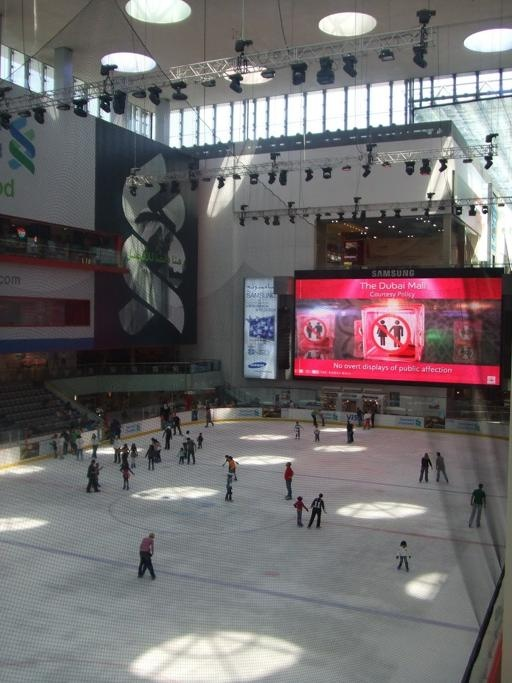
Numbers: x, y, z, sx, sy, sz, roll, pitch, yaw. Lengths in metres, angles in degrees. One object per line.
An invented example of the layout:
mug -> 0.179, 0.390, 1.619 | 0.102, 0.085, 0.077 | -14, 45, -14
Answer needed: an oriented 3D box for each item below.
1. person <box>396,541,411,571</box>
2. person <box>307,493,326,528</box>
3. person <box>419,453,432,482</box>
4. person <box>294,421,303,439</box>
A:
person -> 3.292, 4.744, 13.421 | 0.283, 0.767, 0.801 | 0, 5, 14
person -> 1.649, 4.597, 16.625 | 0.479, 1.085, 1.426 | -1, 5, 5
person -> 5.858, 4.362, 20.873 | 0.362, 1.128, 0.923 | 0, 5, 15
person -> 2.135, 4.437, 29.902 | 0.623, 1.135, 0.358 | -1, -11, -1
